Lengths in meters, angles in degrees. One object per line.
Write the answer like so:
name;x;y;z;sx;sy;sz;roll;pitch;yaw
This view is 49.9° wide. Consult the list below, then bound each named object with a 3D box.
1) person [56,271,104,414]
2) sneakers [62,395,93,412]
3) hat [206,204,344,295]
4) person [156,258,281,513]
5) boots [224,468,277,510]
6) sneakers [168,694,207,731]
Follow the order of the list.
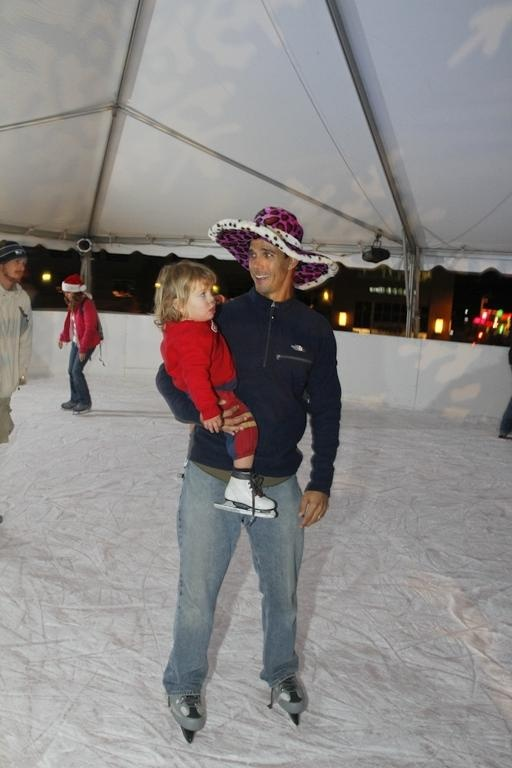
person;-2.298;-0.540;7.166;0.490;1.738;0.824;1;7;-20
sneakers;-2.331;0.261;6.971;0.427;0.191;0.150;17;-7;-35
hat;0.043;-0.484;1.826;0.409;0.201;0.524;8;17;10
person;-0.122;0.020;1.604;0.424;0.747;0.221;9;9;40
boots;-0.026;0.299;1.578;0.184;0.117;0.063;13;-3;-9
sneakers;-0.204;1.008;1.688;0.084;0.050;0.139;8;17;-14
